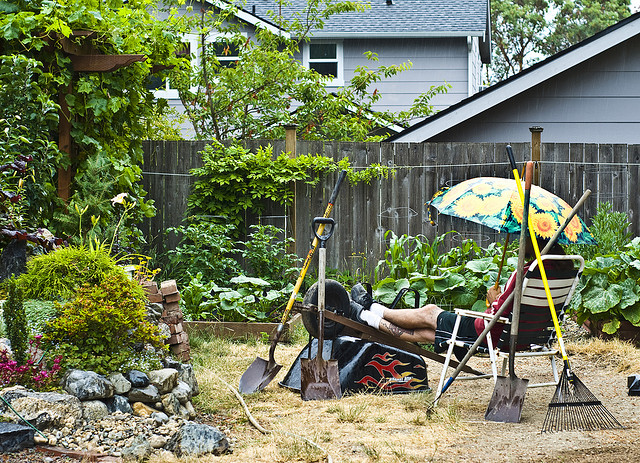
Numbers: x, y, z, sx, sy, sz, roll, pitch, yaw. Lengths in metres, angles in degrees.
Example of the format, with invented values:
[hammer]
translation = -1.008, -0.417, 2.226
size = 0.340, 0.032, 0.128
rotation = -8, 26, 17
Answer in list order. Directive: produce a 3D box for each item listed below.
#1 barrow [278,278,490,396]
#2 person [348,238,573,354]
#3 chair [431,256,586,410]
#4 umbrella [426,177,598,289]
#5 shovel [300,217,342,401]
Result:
[barrow]
translation = 0.664, 1.057, 10.058
size = 1.824, 1.279, 0.837
rotation = 0, -1, 13
[person]
translation = 1.424, 0.632, 9.493
size = 2.413, 1.404, 0.814
rotation = 6, 1, 10
[chair]
translation = 1.816, 1.065, 9.035
size = 1.301, 1.993, 1.221
rotation = 12, -15, -11
[umbrella]
translation = 2.145, 0.029, 9.630
size = 1.278, 1.034, 1.372
rotation = 14, 12, -12
[shovel]
translation = 0.006, 0.793, 9.286
size = 0.419, 1.946, 0.189
rotation = 4, -16, -9
